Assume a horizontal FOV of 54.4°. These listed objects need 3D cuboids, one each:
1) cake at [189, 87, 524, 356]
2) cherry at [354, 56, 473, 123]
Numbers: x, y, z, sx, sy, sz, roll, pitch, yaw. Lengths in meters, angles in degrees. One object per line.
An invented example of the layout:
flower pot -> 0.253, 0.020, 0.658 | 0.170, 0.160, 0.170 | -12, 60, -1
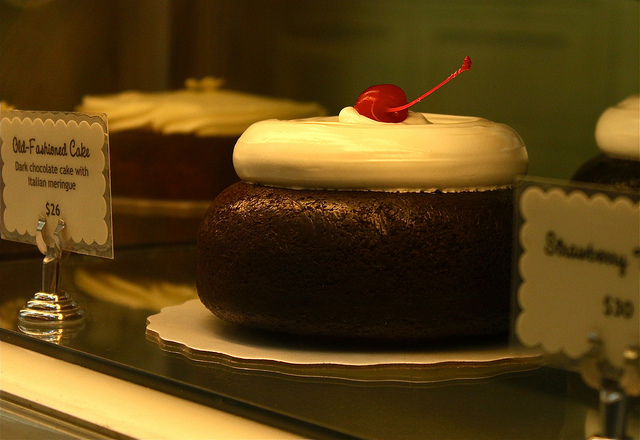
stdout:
cake -> -0.036, 0.009, 1.026 | 0.365, 0.254, 0.383 | -6, -22, 13
cherry -> 0.138, -0.194, 0.993 | 0.204, 0.086, 0.036 | -22, -11, 15
